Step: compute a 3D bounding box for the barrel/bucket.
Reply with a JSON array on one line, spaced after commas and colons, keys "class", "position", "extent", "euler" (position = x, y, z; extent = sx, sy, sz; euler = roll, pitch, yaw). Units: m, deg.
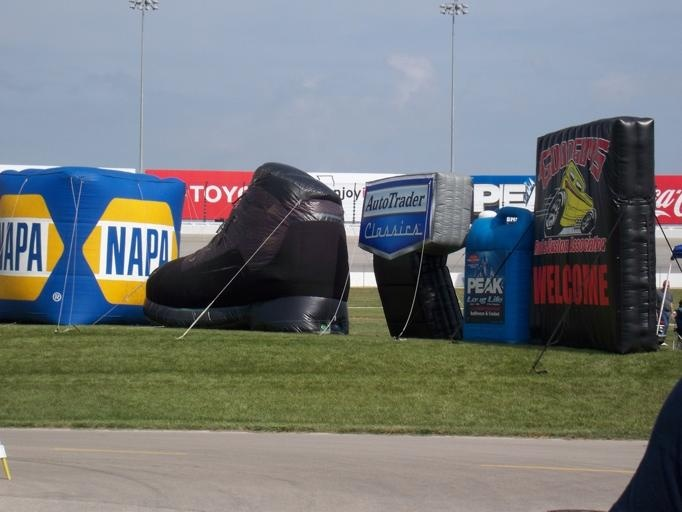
[{"class": "barrel/bucket", "position": [2.751, 0.333, 20.728], "extent": [1.239, 2.273, 1.077], "euler": [5, 13, 23]}]
